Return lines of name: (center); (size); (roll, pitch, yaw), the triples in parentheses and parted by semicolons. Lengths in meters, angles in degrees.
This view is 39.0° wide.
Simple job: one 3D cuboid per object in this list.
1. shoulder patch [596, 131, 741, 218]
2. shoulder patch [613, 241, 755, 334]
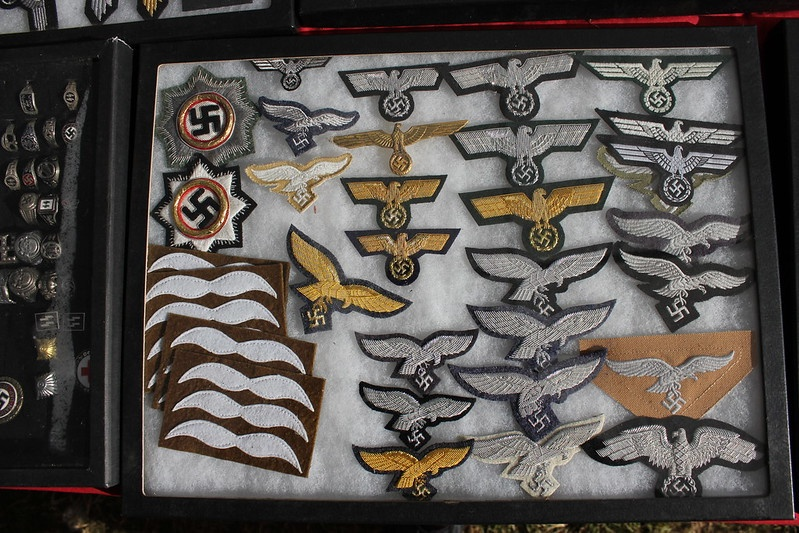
shoulder patch: (0.681, -0.227, 2.820); (0.363, 0.192, 0.008); (4, -6, -9)
shoulder patch: (0.714, 0.055, 2.805); (0.214, 0.135, 0.015); (12, -2, -2)
